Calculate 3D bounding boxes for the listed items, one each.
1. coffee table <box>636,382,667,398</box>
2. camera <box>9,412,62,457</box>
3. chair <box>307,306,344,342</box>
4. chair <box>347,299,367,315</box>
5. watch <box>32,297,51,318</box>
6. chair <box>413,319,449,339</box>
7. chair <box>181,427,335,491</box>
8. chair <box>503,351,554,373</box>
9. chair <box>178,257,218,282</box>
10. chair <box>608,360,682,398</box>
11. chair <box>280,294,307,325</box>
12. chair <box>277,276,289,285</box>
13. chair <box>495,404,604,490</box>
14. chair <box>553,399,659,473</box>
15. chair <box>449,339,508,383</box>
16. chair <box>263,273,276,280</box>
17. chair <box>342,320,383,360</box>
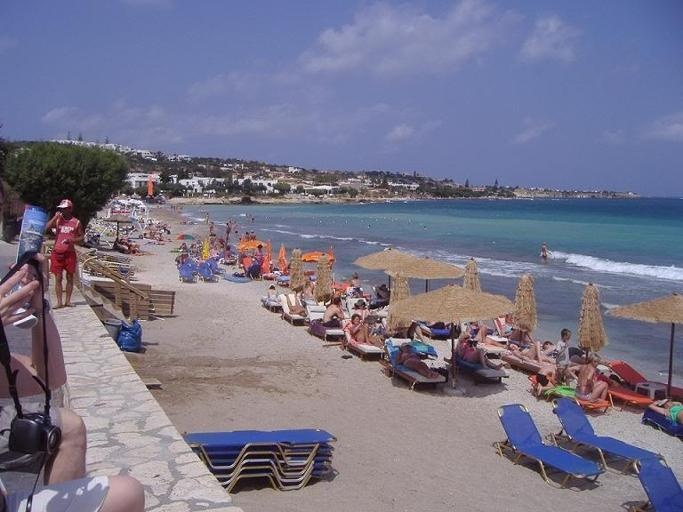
[{"bbox_3d":[5.896,2.522,9.948,0.350,0.258,0.352,-5,2,16],"label":"coffee table"},{"bbox_3d":[-1.448,0.832,2.535,0.211,0.193,0.207,5,0,-11],"label":"camera"},{"bbox_3d":[-0.367,1.667,13.418,0.705,0.773,1.421,1,6,-27],"label":"chair"},{"bbox_3d":[0.470,1.374,13.990,0.423,0.569,0.223,1,38,-4],"label":"chair"},{"bbox_3d":[-1.580,0.266,2.745,0.081,0.102,0.047,2,4,-14],"label":"watch"},{"bbox_3d":[2.491,1.979,14.134,0.626,0.277,1.025,-1,3,-5],"label":"chair"},{"bbox_3d":[-0.905,2.354,6.147,1.759,0.690,0.608,1,7,-29],"label":"chair"},{"bbox_3d":[3.965,2.328,11.454,0.333,0.320,1.211,1,6,-27],"label":"chair"},{"bbox_3d":[-5.953,0.540,21.532,1.066,0.659,1.391,1,-1,-9],"label":"chair"},{"bbox_3d":[5.809,2.411,10.456,0.892,0.625,1.712,-2,-2,-12],"label":"chair"},{"bbox_3d":[-1.316,1.481,15.063,0.723,0.765,1.289,-5,4,-26],"label":"chair"},{"bbox_3d":[-2.520,1.005,22.302,0.474,0.417,1.122,3,6,-7],"label":"chair"},{"bbox_3d":[2.759,2.541,7.054,0.735,0.672,1.453,2,1,-24],"label":"chair"},{"bbox_3d":[3.603,2.465,7.210,0.529,0.683,1.638,-3,-2,-19],"label":"chair"},{"bbox_3d":[2.816,2.049,10.772,0.667,0.765,1.392,-3,3,-15],"label":"chair"},{"bbox_3d":[-3.311,0.884,23.567,0.437,0.280,0.609,1,6,-28],"label":"chair"},{"bbox_3d":[0.532,1.955,12.173,0.771,0.626,1.270,2,6,-20],"label":"chair"}]
